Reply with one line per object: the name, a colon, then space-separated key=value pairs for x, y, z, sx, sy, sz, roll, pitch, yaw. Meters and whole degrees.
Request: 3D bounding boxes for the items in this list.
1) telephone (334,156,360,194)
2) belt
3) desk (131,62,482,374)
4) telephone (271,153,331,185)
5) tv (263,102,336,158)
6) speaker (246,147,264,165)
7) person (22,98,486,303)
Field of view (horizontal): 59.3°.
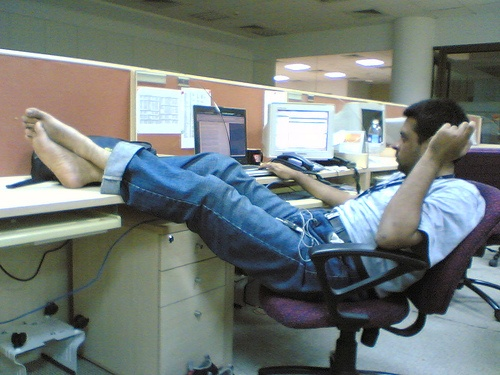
telephone: x=0.609 y=-0.087 z=2.611 sx=0.071 sy=0.164 sz=0.204 roll=-10 pitch=12 yaw=-2
belt: x=0.354 y=0.238 z=1.584 sx=0.088 sy=0.254 sz=0.319 roll=-29 pitch=-43 yaw=32
desk: x=0.259 y=0.037 z=1.796 sx=1.478 sy=0.577 sz=0.622 roll=8 pitch=8 yaw=7
telephone: x=0.263 y=-0.115 z=2.295 sx=0.295 sy=0.061 sz=0.182 roll=18 pitch=6 yaw=11
tv: x=0.458 y=-0.358 z=2.763 sx=0.320 sy=0.331 sz=0.526 roll=-10 pitch=14 yaw=-37
speaker: x=0.064 y=-0.186 z=2.560 sx=0.119 sy=0.083 sz=0.112 roll=2 pitch=5 yaw=24
person: x=0.021 y=-0.044 z=1.655 sx=1.603 sy=0.546 sz=0.619 roll=12 pitch=16 yaw=4
